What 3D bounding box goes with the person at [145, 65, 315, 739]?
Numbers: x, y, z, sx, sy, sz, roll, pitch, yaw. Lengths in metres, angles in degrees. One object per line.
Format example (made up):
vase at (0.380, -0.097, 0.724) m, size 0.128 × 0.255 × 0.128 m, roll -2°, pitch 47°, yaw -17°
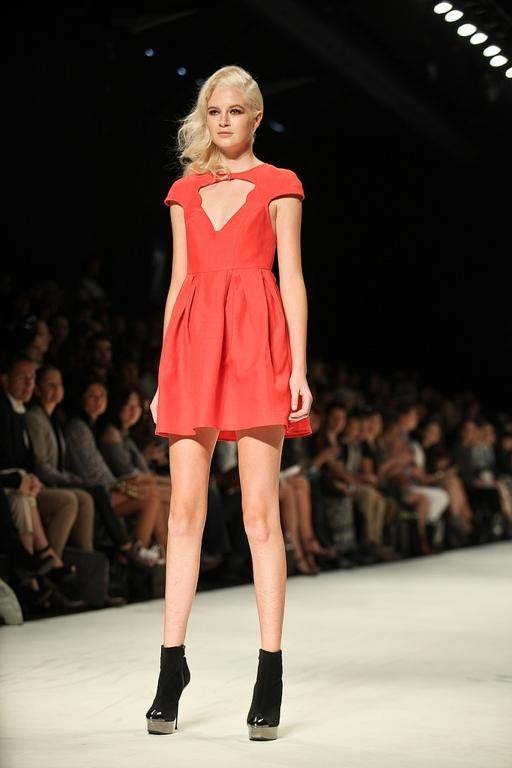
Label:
person at (-0.043, 0.021, 1.240) m, size 0.278 × 1.163 × 0.366 m, roll 2°, pitch 2°, yaw -1°
